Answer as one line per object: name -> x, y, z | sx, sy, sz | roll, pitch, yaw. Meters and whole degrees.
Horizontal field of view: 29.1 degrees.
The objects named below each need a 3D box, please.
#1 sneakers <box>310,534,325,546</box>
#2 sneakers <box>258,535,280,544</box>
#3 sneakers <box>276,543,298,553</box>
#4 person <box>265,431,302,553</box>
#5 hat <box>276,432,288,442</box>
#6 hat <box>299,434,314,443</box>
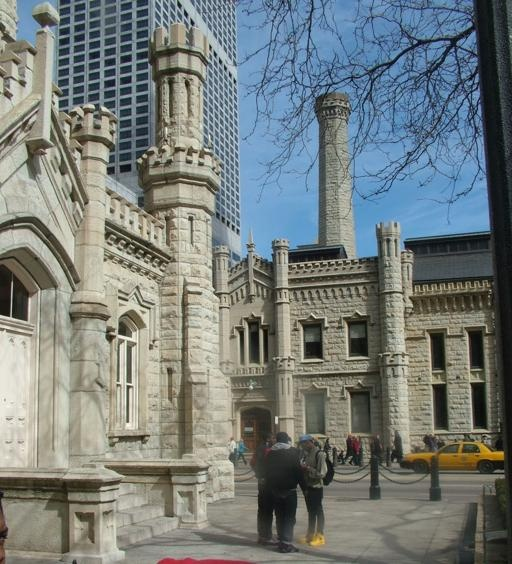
sneakers -> 0.960, 3.988, 15.234 | 0.095, 0.195, 0.287 | -21, -36, 34
sneakers -> 0.220, 3.984, 15.213 | 0.376, 0.157, 0.125 | -4, -4, 6
sneakers -> 0.459, 3.957, 14.683 | 0.324, 0.114, 0.135 | 3, -2, 0
person -> 0.445, 3.212, 15.199 | 0.562, 1.831, 0.824 | 1, -13, -10
hat -> 0.418, 2.452, 15.664 | 0.156, 0.159, 0.210 | 3, -3, 9
hat -> 0.823, 2.592, 16.310 | 0.292, 0.122, 0.328 | -1, -7, 13
